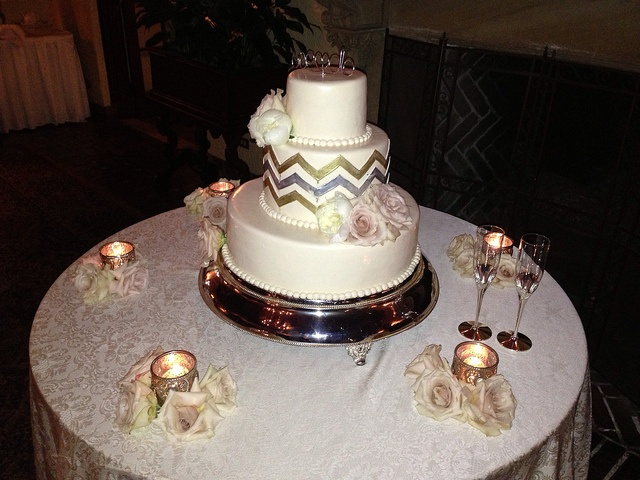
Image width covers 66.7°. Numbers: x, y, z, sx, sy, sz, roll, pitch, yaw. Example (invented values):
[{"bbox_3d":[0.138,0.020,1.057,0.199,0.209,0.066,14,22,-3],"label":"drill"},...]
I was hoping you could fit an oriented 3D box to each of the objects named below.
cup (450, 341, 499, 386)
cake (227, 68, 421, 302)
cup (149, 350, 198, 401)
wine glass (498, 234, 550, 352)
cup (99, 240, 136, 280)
[{"bbox_3d":[0.623,0.489,1.960,0.159,0.134,0.167,-1,34,0],"label":"cup"},{"bbox_3d":[-0.029,-0.223,2.251,0.886,0.862,0.943,-13,37,-20],"label":"cake"},{"bbox_3d":[-0.557,0.498,1.850,0.162,0.137,0.164,4,28,-2],"label":"cup"},{"bbox_3d":[0.951,0.265,2.287,0.176,0.556,0.188,14,39,17],"label":"wine glass"},{"bbox_3d":[-1.014,0.086,2.460,0.173,0.143,0.178,7,30,-4],"label":"cup"}]
